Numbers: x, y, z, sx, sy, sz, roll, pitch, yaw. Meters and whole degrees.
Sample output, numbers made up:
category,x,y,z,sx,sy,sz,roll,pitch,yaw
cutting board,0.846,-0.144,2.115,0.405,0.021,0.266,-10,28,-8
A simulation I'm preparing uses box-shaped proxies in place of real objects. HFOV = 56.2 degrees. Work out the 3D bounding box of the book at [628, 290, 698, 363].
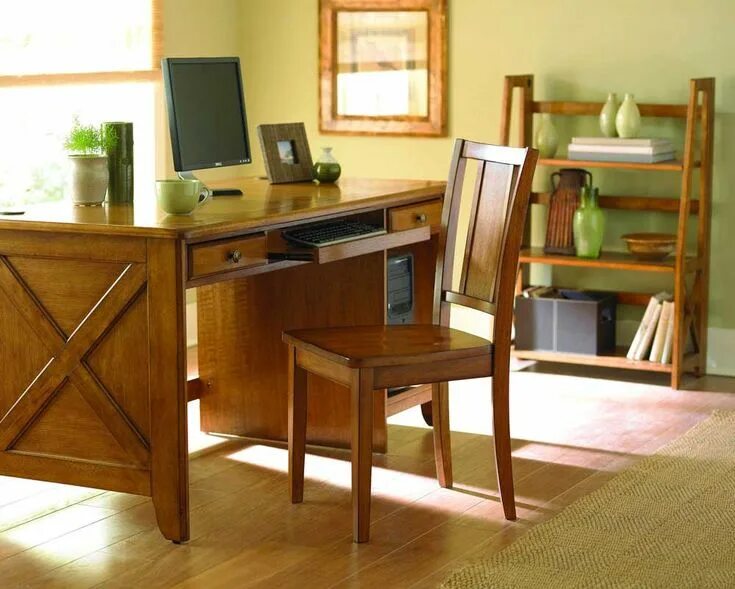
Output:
category,x,y,z,sx,sy,sz,roll,pitch,yaw
book,1.448,0.161,3.390,0.241,0.319,0.351,4,8,37

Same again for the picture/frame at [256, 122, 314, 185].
category,x,y,z,sx,sy,sz,roll,pitch,yaw
picture/frame,-0.324,-0.562,2.736,0.026,0.214,0.244,1,15,39

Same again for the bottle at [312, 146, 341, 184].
category,x,y,z,sx,sy,sz,roll,pitch,yaw
bottle,-0.161,-0.519,2.805,0.161,0.177,0.154,-1,5,-4

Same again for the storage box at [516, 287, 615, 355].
category,x,y,z,sx,sy,sz,roll,pitch,yaw
storage box,1.050,0.134,3.635,0.553,0.231,0.518,1,9,13

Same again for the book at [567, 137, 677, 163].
category,x,y,z,sx,sy,sz,roll,pitch,yaw
book,1.219,-0.700,3.360,0.269,0.057,0.278,7,9,44

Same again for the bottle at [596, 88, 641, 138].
category,x,y,z,sx,sy,sz,roll,pitch,yaw
bottle,1.229,-0.871,3.366,0.279,0.225,0.176,3,10,21

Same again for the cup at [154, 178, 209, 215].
category,x,y,z,sx,sy,sz,roll,pitch,yaw
cup,-0.507,-0.265,1.904,0.159,0.089,0.114,4,5,7
